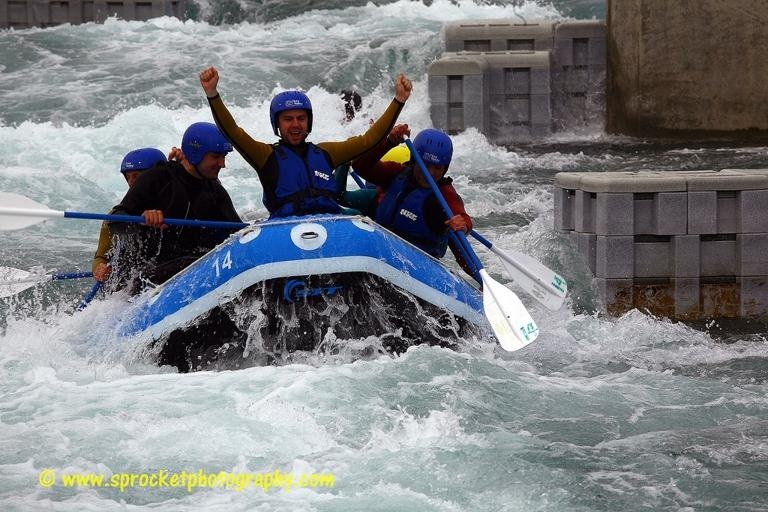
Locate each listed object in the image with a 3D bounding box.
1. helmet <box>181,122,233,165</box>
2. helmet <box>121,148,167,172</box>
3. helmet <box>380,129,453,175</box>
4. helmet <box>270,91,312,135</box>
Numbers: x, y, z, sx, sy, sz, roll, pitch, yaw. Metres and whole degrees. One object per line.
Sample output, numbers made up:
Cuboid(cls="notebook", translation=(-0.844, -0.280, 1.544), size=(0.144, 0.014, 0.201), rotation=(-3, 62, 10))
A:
Cuboid(cls="helmet", translation=(-1.693, -1.127, 10.185), size=(0.583, 0.358, 0.409), rotation=(5, 17, 15))
Cuboid(cls="helmet", translation=(-2.602, -1.064, 11.119), size=(0.475, 0.254, 0.315), rotation=(-19, 3, -7))
Cuboid(cls="helmet", translation=(0.463, -1.082, 10.586), size=(0.383, 0.393, 0.435), rotation=(16, -30, 9))
Cuboid(cls="helmet", translation=(-0.900, -1.423, 10.107), size=(0.409, 0.394, 0.471), rotation=(-1, -18, -10))
